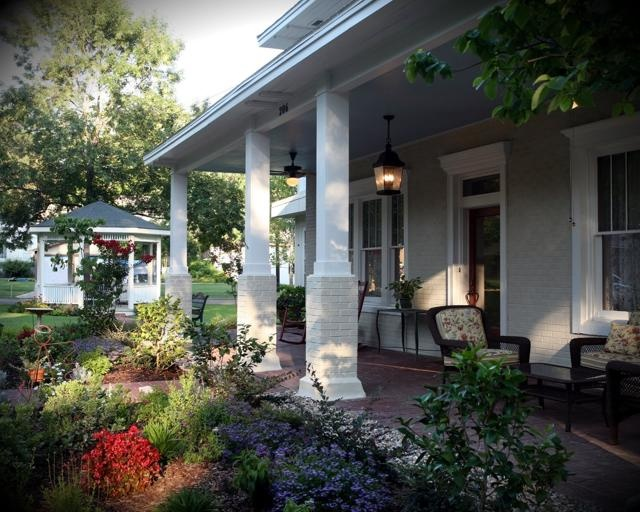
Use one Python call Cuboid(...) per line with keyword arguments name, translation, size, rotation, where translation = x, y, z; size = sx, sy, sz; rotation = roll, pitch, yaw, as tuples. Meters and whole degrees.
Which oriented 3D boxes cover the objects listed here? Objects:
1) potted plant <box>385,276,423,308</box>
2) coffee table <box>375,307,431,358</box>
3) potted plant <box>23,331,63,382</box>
Cuboid(name="potted plant", translation=(1.596, 0.663, 9.152), size=(0.522, 0.372, 0.527), rotation=(-1, -9, 19))
Cuboid(name="coffee table", translation=(1.478, 1.372, 9.231), size=(0.635, 0.858, 1.770), rotation=(2, -3, -16))
Cuboid(name="potted plant", translation=(-3.443, 1.261, 6.207), size=(0.606, 0.675, 0.233), rotation=(2, 7, -5))
